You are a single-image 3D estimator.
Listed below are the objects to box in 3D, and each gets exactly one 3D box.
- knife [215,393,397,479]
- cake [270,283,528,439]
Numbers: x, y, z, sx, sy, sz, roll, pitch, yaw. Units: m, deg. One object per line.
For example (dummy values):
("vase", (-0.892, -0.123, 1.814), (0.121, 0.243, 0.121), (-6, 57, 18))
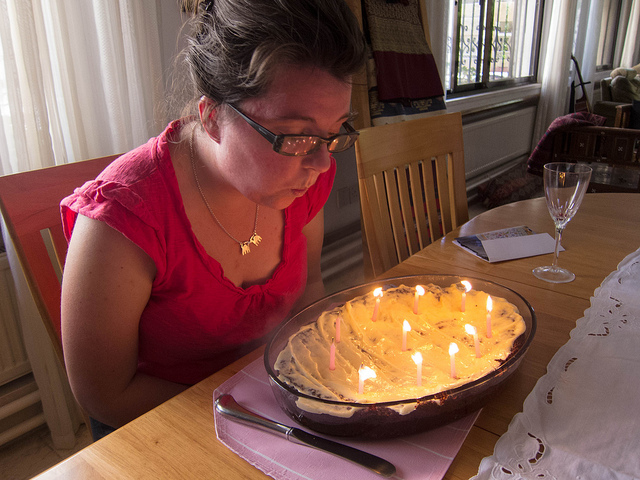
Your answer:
("knife", (-0.013, 0.286, 0.638), (0.241, 0.014, 0.048), (18, 35, 31))
("cake", (0.134, 0.192, 0.728), (0.325, 0.089, 0.229), (-15, 23, -29))
